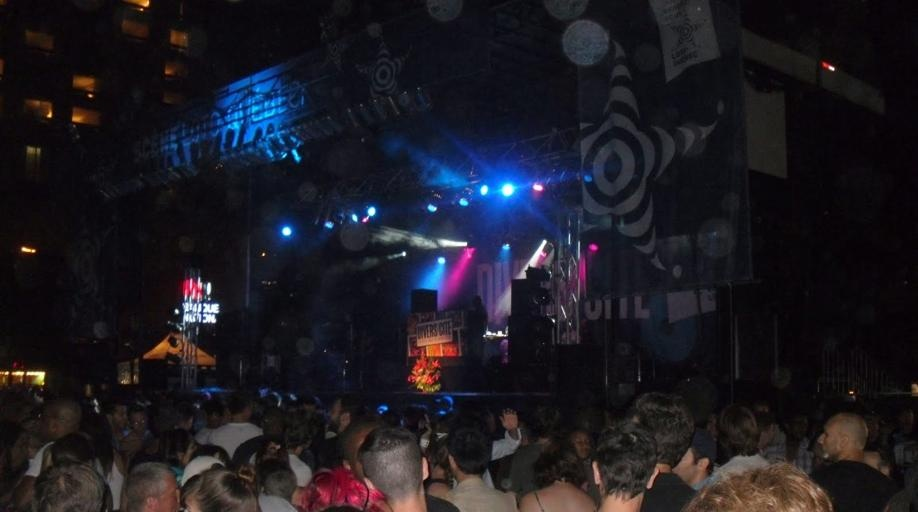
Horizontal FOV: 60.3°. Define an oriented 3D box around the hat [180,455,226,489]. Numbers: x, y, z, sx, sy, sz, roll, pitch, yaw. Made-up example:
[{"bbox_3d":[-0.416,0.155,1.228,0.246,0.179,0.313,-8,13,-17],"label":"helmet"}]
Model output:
[{"bbox_3d":[-4.879,4.045,15.101,0.772,0.615,0.736,0,18,-14],"label":"hat"}]
